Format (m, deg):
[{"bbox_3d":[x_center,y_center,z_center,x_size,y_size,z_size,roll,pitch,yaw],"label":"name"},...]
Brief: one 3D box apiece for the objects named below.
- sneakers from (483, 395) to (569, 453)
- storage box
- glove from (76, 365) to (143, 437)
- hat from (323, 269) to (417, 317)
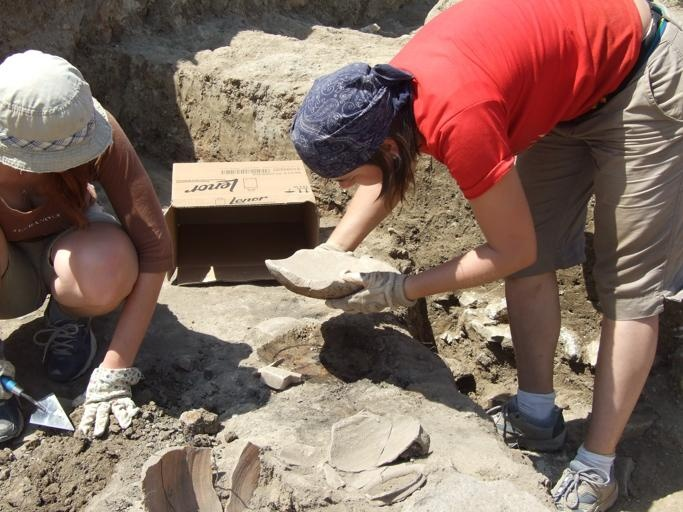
[{"bbox_3d":[0.719,0.670,2.833,0.175,0.175,0.334,-34,46,-22],"label":"sneakers"},{"bbox_3d":[-0.529,-0.205,3.690,0.838,0.620,0.633,-2,40,-7],"label":"storage box"},{"bbox_3d":[-0.805,0.499,2.437,0.152,0.077,0.255,-4,48,7],"label":"glove"},{"bbox_3d":[0.110,0.135,2.584,0.246,0.140,0.097,-6,78,27],"label":"hat"}]
